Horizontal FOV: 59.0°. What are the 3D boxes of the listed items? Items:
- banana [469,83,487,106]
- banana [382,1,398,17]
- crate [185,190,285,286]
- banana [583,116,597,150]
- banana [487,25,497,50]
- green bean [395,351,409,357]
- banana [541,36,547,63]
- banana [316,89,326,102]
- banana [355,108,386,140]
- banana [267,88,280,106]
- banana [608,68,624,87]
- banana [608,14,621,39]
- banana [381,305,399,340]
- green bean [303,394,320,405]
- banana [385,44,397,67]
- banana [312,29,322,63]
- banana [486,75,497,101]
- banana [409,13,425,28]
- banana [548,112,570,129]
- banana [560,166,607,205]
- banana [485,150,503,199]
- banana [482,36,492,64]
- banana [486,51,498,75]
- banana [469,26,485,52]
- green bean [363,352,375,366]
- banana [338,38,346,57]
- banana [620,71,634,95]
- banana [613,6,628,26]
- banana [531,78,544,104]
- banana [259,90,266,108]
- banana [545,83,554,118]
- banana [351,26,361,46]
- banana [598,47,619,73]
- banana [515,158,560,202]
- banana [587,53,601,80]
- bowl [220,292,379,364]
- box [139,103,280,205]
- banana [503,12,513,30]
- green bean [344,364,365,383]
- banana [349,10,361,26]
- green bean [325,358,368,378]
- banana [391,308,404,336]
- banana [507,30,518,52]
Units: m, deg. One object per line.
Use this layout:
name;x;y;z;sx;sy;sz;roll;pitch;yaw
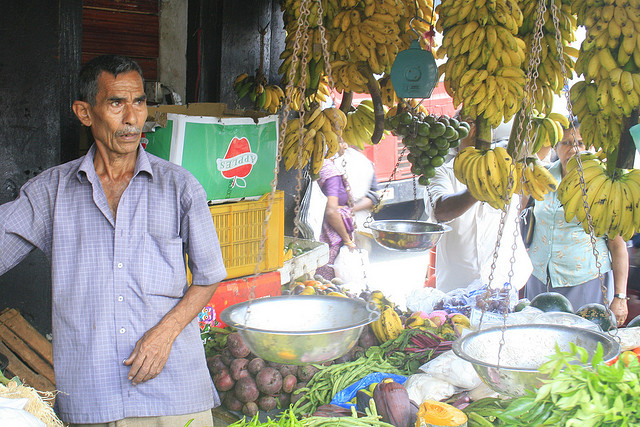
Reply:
banana;0.799;-0.599;2.848;0.043;0.152;0.051;26;-18;32
banana;0.394;-1.146;3.171;0.096;0.051;0.031;29;17;3
crate;-0.378;0.130;3.197;0.519;0.593;0.507;0;1;-26
banana;1.381;-0.415;2.913;0.039;0.150;0.049;11;-12;20
banana;0.851;-0.880;2.818;0.038;0.120;0.034;-18;-26;38
green bean;0.458;0.788;3.153;0.072;0.020;0.014;2;8;20
banana;1.133;-0.843;2.890;0.032;0.122;0.038;5;7;10
banana;0.010;-0.804;3.867;0.028;0.026;0.089;-8;-34;17
banana;0.298;-0.541;3.375;0.053;0.222;0.076;-37;-2;21
banana;-0.307;-0.784;3.811;0.047;0.149;0.040;3;-30;-45
banana;1.419;-0.665;2.729;0.046;0.063;0.083;1;19;15
banana;1.410;-0.897;2.717;0.047;0.098;0.032;-3;-1;37
banana;0.412;0.644;3.305;0.102;0.167;0.103;2;8;17
green bean;-0.047;0.989;2.997;0.088;0.047;0.015;1;7;15
banana;0.403;-0.882;3.188;0.045;0.143;0.033;-22;8;-7
banana;-0.018;-0.943;3.199;0.044;0.171;0.046;2;5;-9
banana;0.855;-0.635;2.840;0.038;0.132;0.044;10;-25;-8
banana;0.575;-1.131;3.331;0.067;0.022;0.066;-5;-16;42
banana;1.299;-0.499;3.041;0.034;0.084;0.150;-16;23;-4
banana;1.322;-0.166;2.867;0.137;0.256;0.070;37;-2;13
banana;0.879;-0.206;2.878;0.059;0.263;0.087;-10;5;-1
banana;0.837;-0.826;2.843;0.033;0.117;0.033;3;0;0
banana;0.868;-0.759;2.854;0.032;0.105;0.037;9;-1;8
banana;0.788;-0.882;2.841;0.045;0.143;0.049;20;-3;10
green bean;0.269;0.802;3.141;0.021;0.016;0.109;-44;1;39
banana;0.123;-0.953;3.238;0.032;0.095;0.025;-1;15;-31
banana;1.458;-0.624;2.702;0.047;0.106;0.038;-2;-26;14
banana;1.429;-0.943;2.699;0.047;0.091;0.030;-8;-17;11
banana;1.101;-0.628;2.886;0.044;0.214;0.074;7;11;22
banana;-0.383;-0.772;3.802;0.031;0.110;0.036;8;-6;-8
banana;1.214;-0.600;3.024;0.039;0.180;0.063;-1;-2;-40
banana;0.198;-1.000;3.158;0.034;0.119;0.038;11;-24;-38
banana;1.397;-0.750;2.761;0.082;0.123;0.040;2;8;23
banana;1.149;-0.172;2.998;0.237;0.089;0.134;29;34;2
banana;1.343;-0.724;2.783;0.038;0.132;0.039;9;-10;12
bowl;-0.144;0.483;2.273;0.594;0.174;0.655;0;2;-26
box;-0.675;-0.342;3.408;0.680;0.584;0.826;-2;5;-31
banana;0.939;-0.958;2.817;0.032;0.102;0.027;9;-29;-29
green bean;0.188;0.853;3.107;0.041;0.169;0.043;37;-18;16
banana;0.193;-1.096;3.178;0.061;0.084;0.046;-3;-8;12
green bean;0.137;0.841;3.139;0.261;0.077;0.080;-16;40;-3
banana;0.457;0.637;3.305;0.043;0.142;0.046;-21;-6;11
banana;0.954;-0.857;2.827;0.029;0.110;0.029;-19;-10;41
